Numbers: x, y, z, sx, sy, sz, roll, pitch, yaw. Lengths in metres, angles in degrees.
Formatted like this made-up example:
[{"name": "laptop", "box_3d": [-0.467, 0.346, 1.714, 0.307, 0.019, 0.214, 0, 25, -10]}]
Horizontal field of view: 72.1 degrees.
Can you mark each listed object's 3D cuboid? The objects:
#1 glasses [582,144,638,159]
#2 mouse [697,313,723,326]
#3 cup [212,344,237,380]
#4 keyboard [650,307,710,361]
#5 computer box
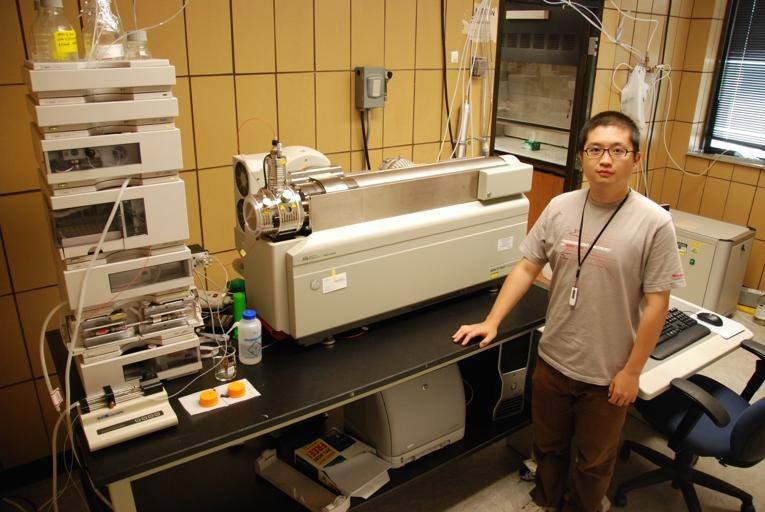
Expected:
[{"name": "glasses", "box_3d": [0.977, -0.456, 2.273, 0.194, 0.059, 0.048, 6, 24, 18]}, {"name": "mouse", "box_3d": [1.836, 0.346, 2.941, 0.058, 0.031, 0.104, -24, 37, -34]}, {"name": "cup", "box_3d": [-0.696, 0.475, 2.307, 0.098, 0.139, 0.089, -6, 15, -27]}, {"name": "keyboard", "box_3d": [1.566, 0.420, 2.796, 0.314, 0.061, 0.224, -24, 42, -27]}, {"name": "computer box", "box_3d": [0.727, 0.555, 2.970, 0.191, 0.743, 0.262, -7, 48, 8]}]
